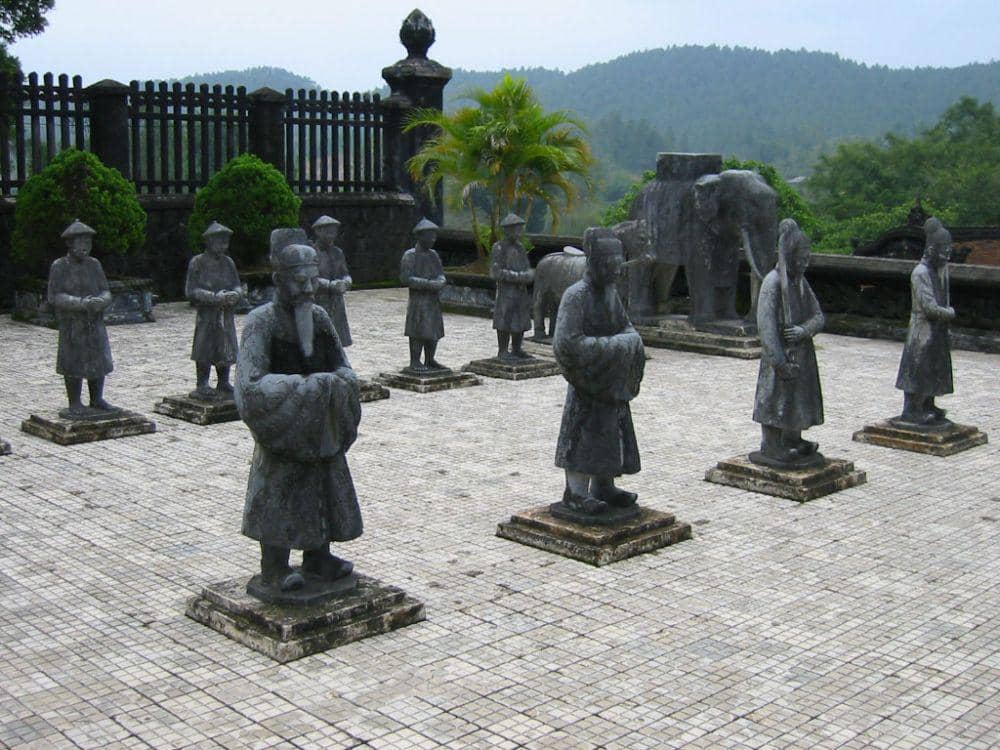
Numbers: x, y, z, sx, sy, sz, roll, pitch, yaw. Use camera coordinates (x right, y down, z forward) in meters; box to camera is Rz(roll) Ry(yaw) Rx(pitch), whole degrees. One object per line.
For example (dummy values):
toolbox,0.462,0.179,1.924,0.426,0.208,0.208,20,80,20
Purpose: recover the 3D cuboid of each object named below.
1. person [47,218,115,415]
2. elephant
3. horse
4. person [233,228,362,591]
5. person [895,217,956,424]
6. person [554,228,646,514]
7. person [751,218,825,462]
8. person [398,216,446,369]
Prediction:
person,-3.842,-0.524,10.436,0.523,1.720,0.518,-5,15,-22
elephant,2.762,-1.782,15.808,0.934,2.080,2.492,-7,9,-41
horse,1.160,-1.161,14.375,1.662,1.424,0.553,-5,-5,25
person,-1.180,0.271,6.717,0.712,2.020,0.544,-2,14,-9
person,3.947,-0.488,10.373,0.489,1.858,0.592,6,15,21
person,0.702,-0.024,7.974,0.624,1.957,0.472,0,14,-1
person,2.379,-0.271,9.201,0.557,1.962,0.524,-7,16,-29
person,-0.869,-0.902,12.939,0.495,1.703,0.904,-1,14,-5
